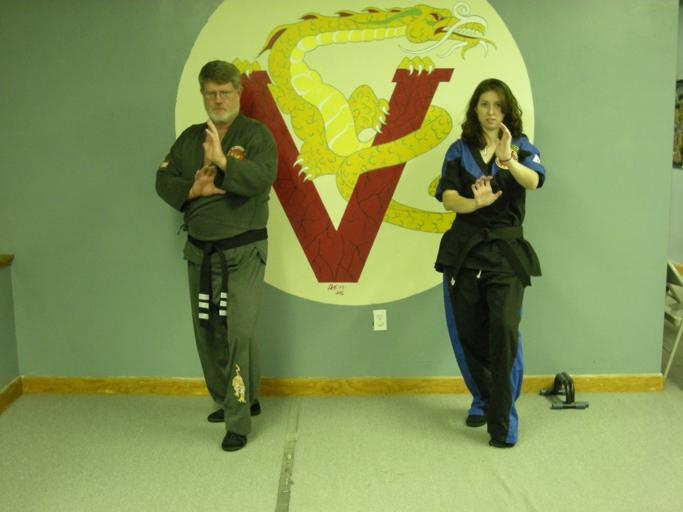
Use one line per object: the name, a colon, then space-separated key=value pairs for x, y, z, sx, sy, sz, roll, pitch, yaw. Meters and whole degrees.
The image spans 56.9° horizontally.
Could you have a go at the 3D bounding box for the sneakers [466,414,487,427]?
sneakers: x=0.811 y=0.993 z=3.791 sx=0.108 sy=0.046 sz=0.067 roll=-3 pitch=7 yaw=-4

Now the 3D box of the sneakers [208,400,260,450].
sneakers: x=-0.664 y=1.006 z=3.803 sx=0.130 sy=0.201 sz=0.444 roll=1 pitch=5 yaw=8

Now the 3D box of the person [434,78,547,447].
person: x=0.847 y=0.016 z=3.673 sx=0.587 sy=2.024 sz=0.496 roll=11 pitch=19 yaw=44

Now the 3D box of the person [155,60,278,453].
person: x=-0.681 y=-0.041 z=3.737 sx=0.562 sy=2.150 sz=0.655 roll=-14 pitch=18 yaw=-39
